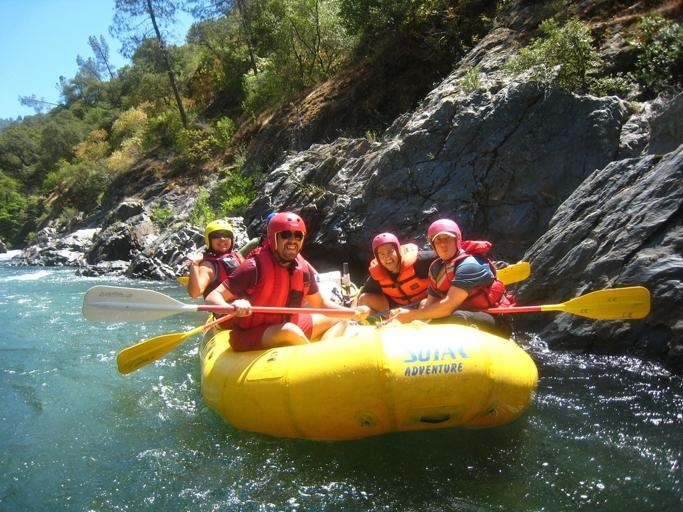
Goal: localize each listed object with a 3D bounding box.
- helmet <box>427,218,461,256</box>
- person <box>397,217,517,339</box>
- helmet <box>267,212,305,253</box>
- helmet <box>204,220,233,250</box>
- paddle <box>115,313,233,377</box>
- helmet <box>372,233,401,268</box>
[{"bbox_3d":[1.140,-0.230,6.289,0.284,0.421,0.314,-9,-3,15],"label":"helmet"},{"bbox_3d":[1.222,0.277,6.304,1.265,1.424,0.897,-5,2,-22],"label":"person"},{"bbox_3d":[-0.586,-0.269,5.880,0.282,0.368,0.412,0,5,-27],"label":"helmet"},{"bbox_3d":[-1.488,-0.260,6.817,0.263,0.313,0.371,1,-4,-21],"label":"helmet"},{"bbox_3d":[-1.944,1.038,6.525,1.620,0.242,0.083,-27,27,-26],"label":"paddle"},{"bbox_3d":[0.536,-0.108,6.701,0.230,0.284,0.346,-5,-5,12],"label":"helmet"}]
